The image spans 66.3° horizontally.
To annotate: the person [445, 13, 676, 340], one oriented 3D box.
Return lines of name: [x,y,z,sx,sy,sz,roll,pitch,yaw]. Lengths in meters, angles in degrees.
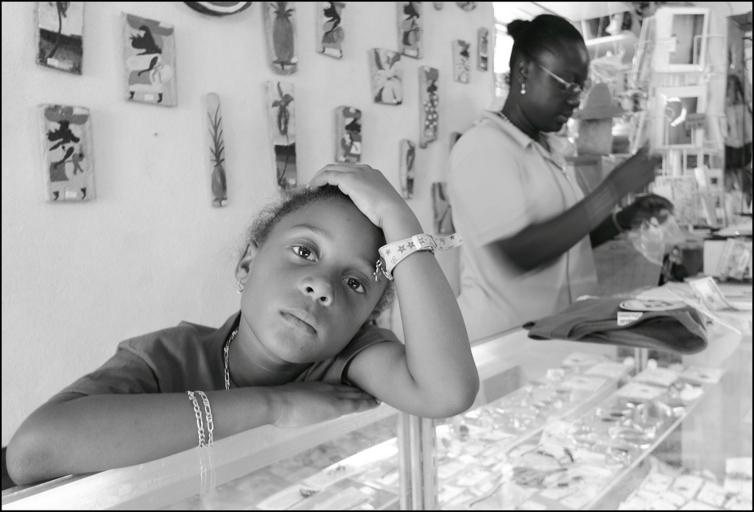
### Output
person: [0.742,-0.365,2.629,1.003,1.724,0.950,0,11,23]

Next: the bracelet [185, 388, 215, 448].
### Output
bracelet: [-0.309,0.274,0.976,0.056,0.090,0.023,-1,-9,-16]

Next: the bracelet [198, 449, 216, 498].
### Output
bracelet: [-0.254,0.325,0.867,0.024,0.038,0.084,-6,8,-17]

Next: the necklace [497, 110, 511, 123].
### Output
necklace: [0.420,-0.458,1.893,0.014,0.048,0.049,-36,41,15]

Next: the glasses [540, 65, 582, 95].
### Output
glasses: [0.570,-0.529,1.800,0.096,0.029,0.094,43,27,22]
